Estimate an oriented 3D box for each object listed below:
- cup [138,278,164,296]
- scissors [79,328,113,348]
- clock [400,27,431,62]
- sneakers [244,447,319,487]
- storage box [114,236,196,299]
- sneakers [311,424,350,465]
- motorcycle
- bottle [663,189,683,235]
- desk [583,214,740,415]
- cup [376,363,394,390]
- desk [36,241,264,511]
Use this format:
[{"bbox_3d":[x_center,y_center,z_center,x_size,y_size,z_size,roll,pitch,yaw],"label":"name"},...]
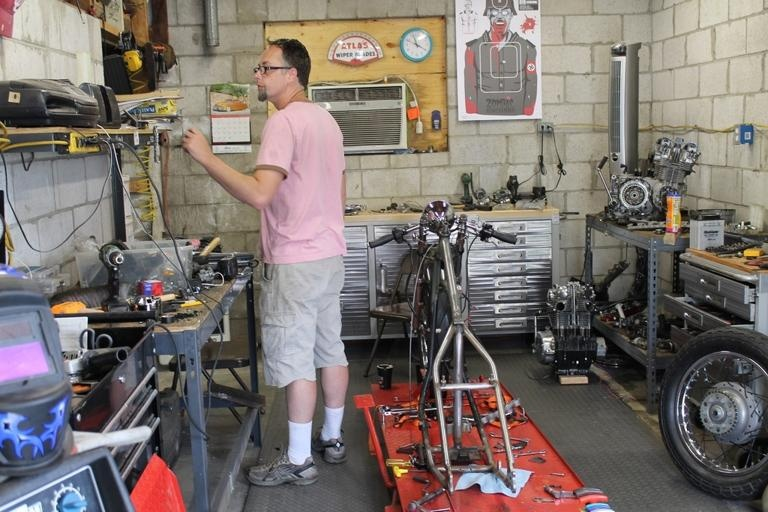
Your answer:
[{"bbox_3d":[-1.150,0.151,3.134,0.085,0.079,0.086,1,9,0],"label":"cup"},{"bbox_3d":[-1.120,0.331,2.469,0.088,0.026,0.087,6,12,-17],"label":"scissors"},{"bbox_3d":[0.288,-1.936,5.831,0.290,0.291,0.289,0,12,-1],"label":"clock"},{"bbox_3d":[-0.558,1.218,3.718,0.463,0.225,0.174,3,4,0],"label":"sneakers"},{"bbox_3d":[-1.169,0.054,3.313,0.314,0.194,0.314,0,8,-2],"label":"storage box"},{"bbox_3d":[-0.361,1.159,4.024,0.174,0.184,0.404,-2,8,-21],"label":"sneakers"},{"bbox_3d":[0.300,0.409,3.564,0.613,0.939,1.695,0,22,-3],"label":"motorcycle"},{"bbox_3d":[2.047,-0.312,4.491,0.092,0.284,0.290,4,14,23],"label":"bottle"},{"bbox_3d":[1.928,0.428,4.415,0.456,1.164,1.347,0,7,1],"label":"desk"},{"bbox_3d":[-0.003,0.836,4.338,0.150,0.160,0.145,0,-6,0],"label":"cup"},{"bbox_3d":[-0.983,0.486,2.732,0.522,0.885,1.355,-1,11,-4],"label":"desk"}]
